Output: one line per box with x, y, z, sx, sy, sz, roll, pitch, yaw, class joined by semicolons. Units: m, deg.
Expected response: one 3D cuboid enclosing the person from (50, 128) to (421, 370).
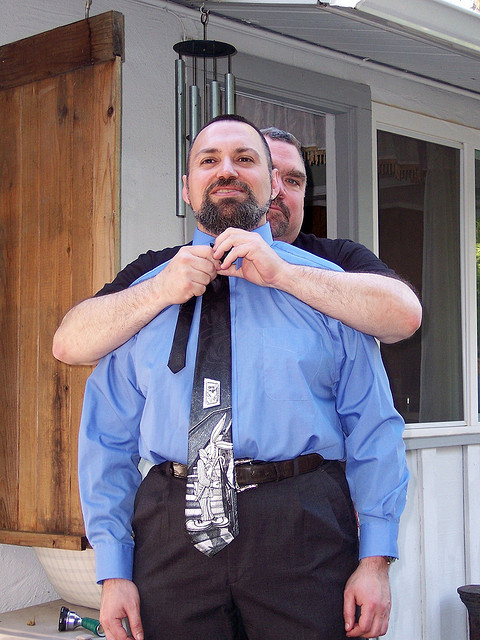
-0.021;-0.171;2.582;1.006;0.696;0.496;-7;-5;22;person

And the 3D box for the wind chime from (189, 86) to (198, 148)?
-0.173;-0.767;3.707;0.031;0.196;0.102;1;-3;-4;wind chime

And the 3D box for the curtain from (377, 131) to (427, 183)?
0.787;-0.783;4.823;0.034;0.206;0.396;-2;-4;43;curtain

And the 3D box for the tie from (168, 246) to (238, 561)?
-0.064;0.167;2.359;0.219;0.871;0.046;-5;-42;1;tie
